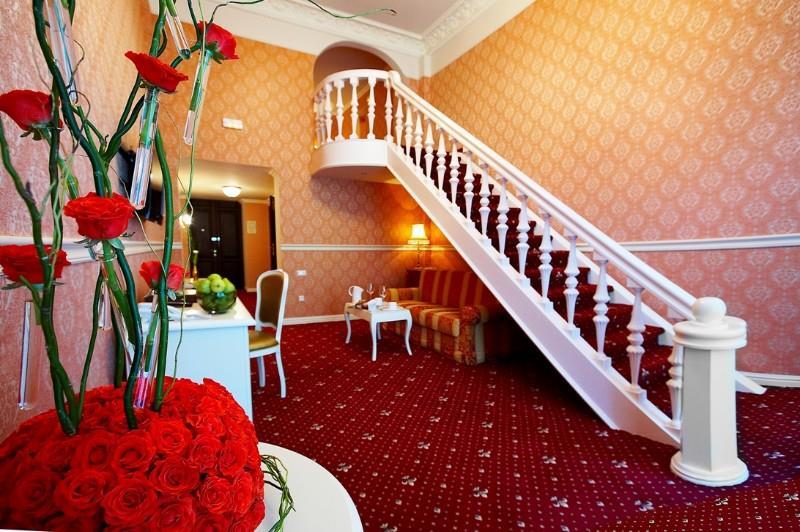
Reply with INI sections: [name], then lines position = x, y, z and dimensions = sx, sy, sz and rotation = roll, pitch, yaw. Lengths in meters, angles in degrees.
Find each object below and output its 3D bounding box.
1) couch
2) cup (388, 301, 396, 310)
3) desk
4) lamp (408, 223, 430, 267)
[couch]
position = 0.394, 0.494, 5.863
dimensions = 0.569, 0.794, 1.613
rotation = -4, 8, -31
[cup]
position = -0.098, 0.413, 5.513
dimensions = 0.080, 0.074, 0.067
rotation = -7, 11, -43
[desk]
position = -1.250, 0.493, 3.508
dimensions = 1.182, 1.086, 0.757
rotation = -1, 3, -30
[lamp]
position = 0.247, -0.274, 7.684
dimensions = 0.363, 0.661, 0.366
rotation = 3, 4, 41
